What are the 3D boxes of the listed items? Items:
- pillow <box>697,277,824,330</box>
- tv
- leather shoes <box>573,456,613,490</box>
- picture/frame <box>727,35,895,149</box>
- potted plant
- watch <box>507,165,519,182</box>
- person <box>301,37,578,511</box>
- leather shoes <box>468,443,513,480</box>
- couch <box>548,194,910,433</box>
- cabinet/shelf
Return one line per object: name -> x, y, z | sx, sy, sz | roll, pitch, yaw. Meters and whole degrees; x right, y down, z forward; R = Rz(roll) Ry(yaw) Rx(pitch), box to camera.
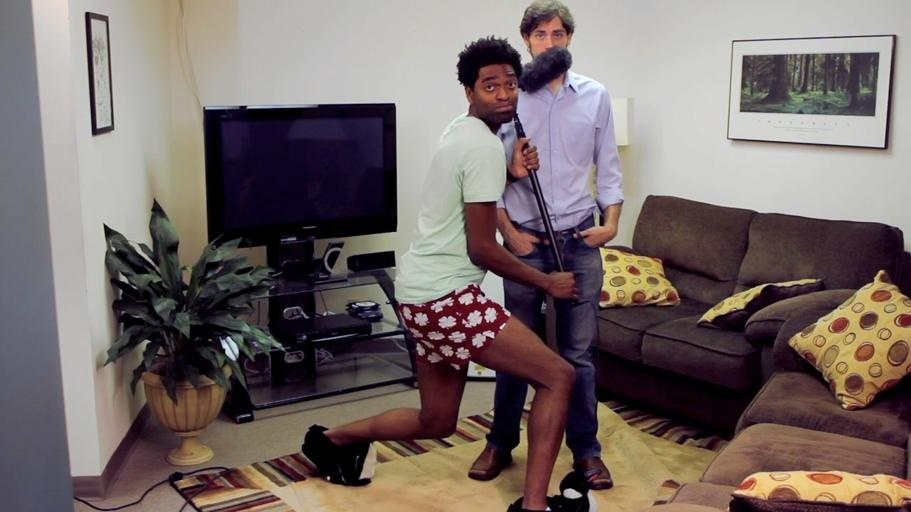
pillow -> 1.925, 0.320, 4.142 | 0.489, 0.135, 0.473 | -22, 8, -25
tv -> -1.183, -0.641, 4.718 | 1.198, 0.738, 0.113 | -4, 7, -25
leather shoes -> 0.769, 1.228, 3.515 | 0.142, 0.222, 0.244 | -6, -14, -9
picture/frame -> 2.619, -1.204, 4.611 | 0.999, 0.639, 0.034 | 7, 10, 35
potted plant -> -1.624, 0.458, 3.934 | 0.942, 1.577, 0.640 | -7, 16, -13
watch -> 0.315, -0.440, 3.385 | 0.069, 0.065, 0.073 | 0, 4, 11
person -> -0.023, 0.138, 3.263 | 1.268, 2.390, 0.585 | 3, 17, 22
leather shoes -> 0.197, 1.176, 3.714 | 0.136, 0.119, 0.322 | 12, 20, 27
couch -> 1.920, 0.277, 4.715 | 1.616, 1.690, 2.718 | -2, 5, -40
cabinet/shelf -> -0.742, 0.579, 4.582 | 1.356, 0.755, 0.510 | -10, -5, 29
